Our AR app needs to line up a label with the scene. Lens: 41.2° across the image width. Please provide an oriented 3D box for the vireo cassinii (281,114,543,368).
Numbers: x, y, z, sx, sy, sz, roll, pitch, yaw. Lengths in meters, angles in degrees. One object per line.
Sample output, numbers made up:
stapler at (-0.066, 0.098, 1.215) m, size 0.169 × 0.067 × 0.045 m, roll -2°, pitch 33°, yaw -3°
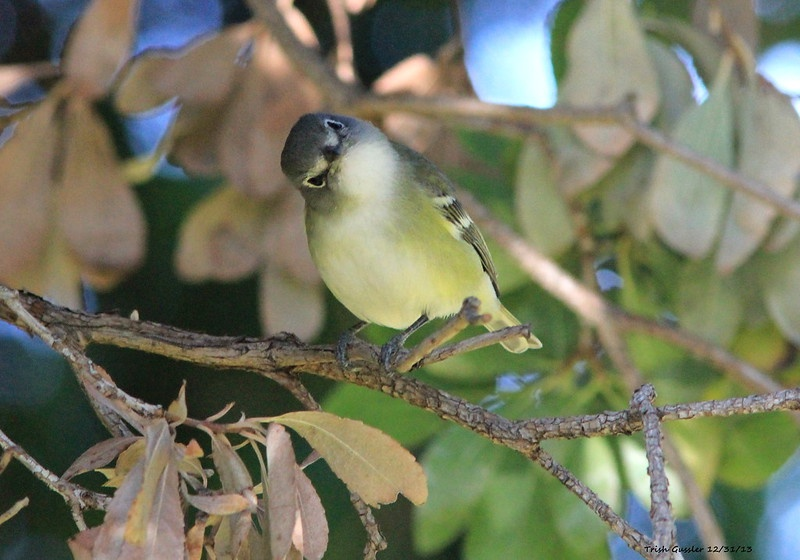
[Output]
vireo cassinii at (0.022, -0.124, 3.375) m, size 0.623 × 0.847 × 0.450 m, roll -25°, pitch 33°, yaw -33°
